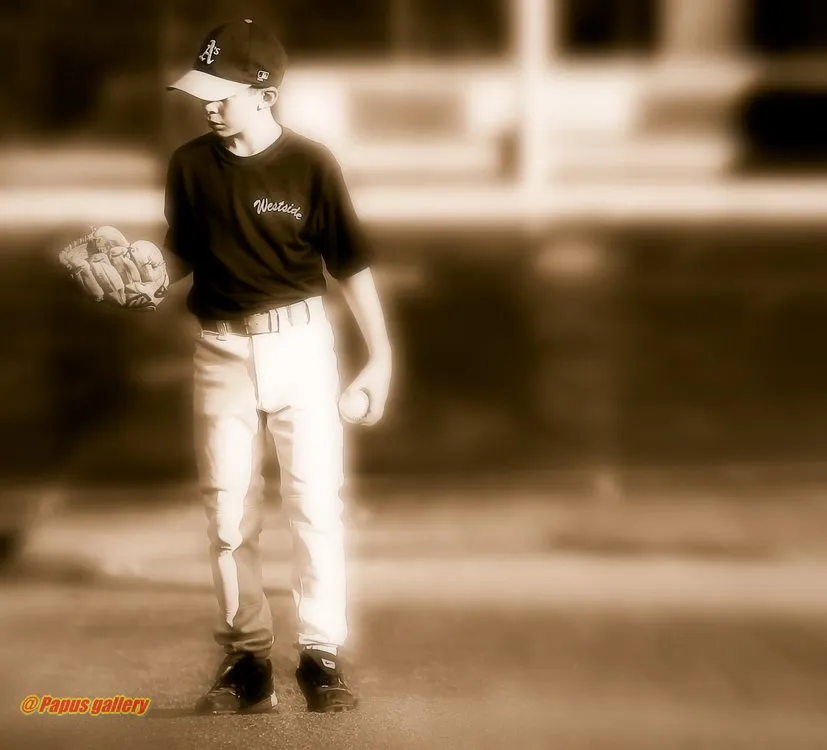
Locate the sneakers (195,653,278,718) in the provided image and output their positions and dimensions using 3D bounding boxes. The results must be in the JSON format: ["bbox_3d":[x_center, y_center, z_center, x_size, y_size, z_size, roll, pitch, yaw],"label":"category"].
[{"bbox_3d":[-0.490,0.889,3.504,0.288,0.140,0.115,1,-3,-1],"label":"sneakers"}]

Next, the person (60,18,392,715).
[{"bbox_3d":[-0.367,0.012,3.413,0.605,1.876,0.720,-4,25,-9],"label":"person"}]

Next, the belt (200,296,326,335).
[{"bbox_3d":[-0.417,-0.158,3.364,0.333,0.087,0.087,-3,24,-8],"label":"belt"}]

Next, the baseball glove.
[{"bbox_3d":[-0.801,-0.307,3.423,0.273,0.199,0.125,34,23,-1],"label":"baseball glove"}]

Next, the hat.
[{"bbox_3d":[-0.480,-0.860,3.316,0.205,0.151,0.313,35,42,30],"label":"hat"}]
